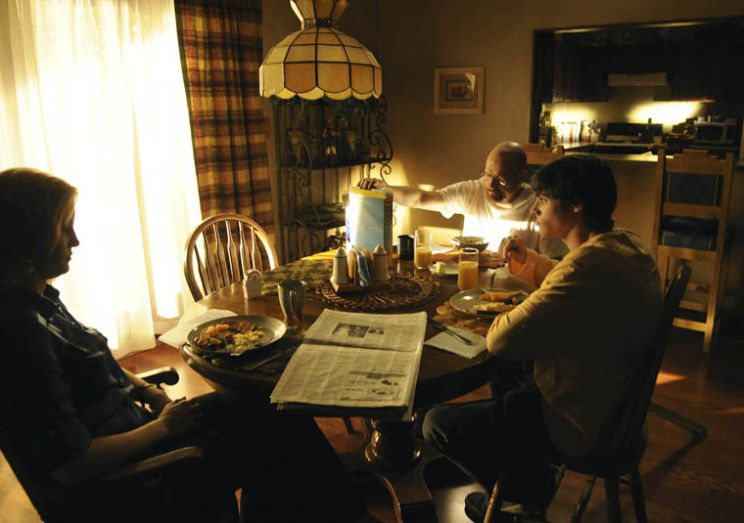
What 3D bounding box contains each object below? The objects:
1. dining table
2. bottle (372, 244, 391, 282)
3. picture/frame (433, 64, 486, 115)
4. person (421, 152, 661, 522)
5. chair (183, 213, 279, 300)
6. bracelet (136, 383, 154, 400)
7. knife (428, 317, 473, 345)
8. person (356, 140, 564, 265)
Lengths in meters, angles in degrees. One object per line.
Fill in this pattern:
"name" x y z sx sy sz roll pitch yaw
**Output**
"dining table" -0.029 0.544 2.797 1.279 0.762 1.241 -1 9 -1
"bottle" 0.031 0.011 2.836 0.108 0.150 0.107 2 13 0
"picture/frame" 0.771 -1.492 5.204 0.457 0.386 0.034 6 13 29
"person" 0.674 0.393 2.366 0.810 1.567 0.418 3 15 19
"chair" -0.838 -0.025 3.493 0.368 0.529 0.376 18 33 26
"bracelet" -0.894 0.516 2.389 0.050 0.052 0.060 1 -1 -5
"knife" 0.297 0.265 2.415 0.051 0.019 0.353 -28 20 -14
"person" 0.561 -0.392 3.758 1.027 1.025 0.335 17 50 20
